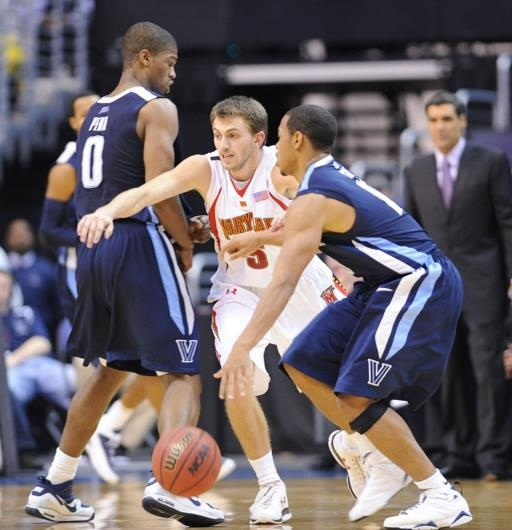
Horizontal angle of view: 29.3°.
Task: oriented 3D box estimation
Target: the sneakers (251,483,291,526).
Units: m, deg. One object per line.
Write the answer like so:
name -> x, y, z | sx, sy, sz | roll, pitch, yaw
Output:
sneakers -> 0.056, 1.015, 4.158 | 0.173, 0.196, 0.210 | -1, 7, -1

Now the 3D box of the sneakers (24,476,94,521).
sneakers -> -0.860, 1.033, 4.322 | 0.374, 0.195, 0.132 | 19, -13, -42

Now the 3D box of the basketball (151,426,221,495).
basketball -> -0.274, 0.806, 3.922 | 0.270, 0.266, 0.283 | -13, -20, 25
